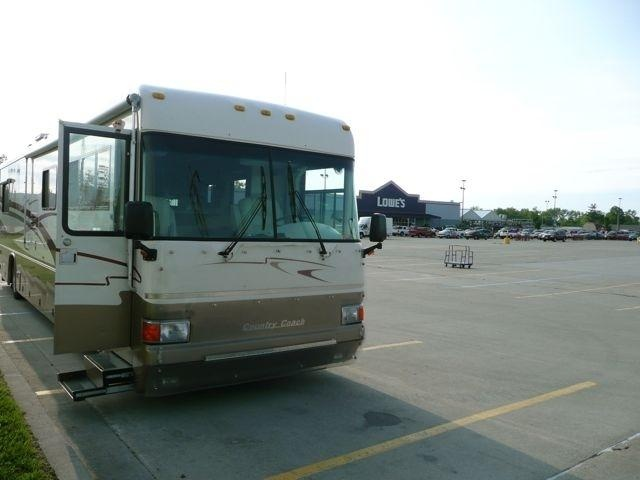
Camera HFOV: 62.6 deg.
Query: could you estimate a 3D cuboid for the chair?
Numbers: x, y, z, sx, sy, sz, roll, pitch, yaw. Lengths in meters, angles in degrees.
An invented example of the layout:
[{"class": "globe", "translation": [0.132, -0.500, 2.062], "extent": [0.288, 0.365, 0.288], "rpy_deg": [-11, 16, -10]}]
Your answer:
[{"class": "chair", "translation": [-0.822, -0.523, 6.880], "extent": [0.699, 0.903, 0.725], "rpy_deg": [-1, 18, -7]}]
